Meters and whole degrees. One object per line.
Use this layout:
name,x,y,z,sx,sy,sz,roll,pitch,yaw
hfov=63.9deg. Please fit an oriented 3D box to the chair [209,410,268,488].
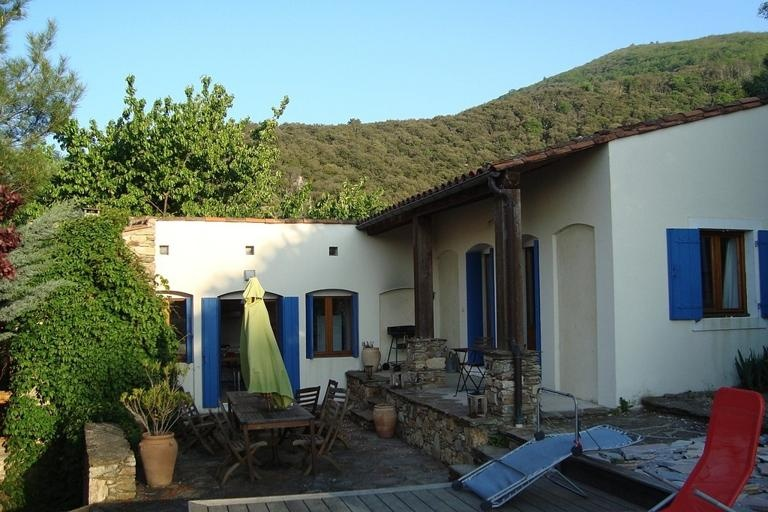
chair,-2.865,3.671,11.994,1.264,1.703,0.997,0,-2,-16

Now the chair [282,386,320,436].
chair,-2.030,3.427,14.464,0.700,1.187,0.761,1,-1,-13

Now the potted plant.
potted plant,-4.402,3.180,12.026,1.162,2.214,1.956,-1,-7,-18

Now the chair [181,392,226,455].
chair,-4.056,3.629,13.657,0.714,0.850,0.715,-2,13,-6

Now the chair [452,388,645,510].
chair,2.449,2.948,9.669,2.592,1.586,1.137,-1,-7,-17

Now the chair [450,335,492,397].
chair,2.060,2.534,14.527,0.993,1.562,1.156,0,3,-6
